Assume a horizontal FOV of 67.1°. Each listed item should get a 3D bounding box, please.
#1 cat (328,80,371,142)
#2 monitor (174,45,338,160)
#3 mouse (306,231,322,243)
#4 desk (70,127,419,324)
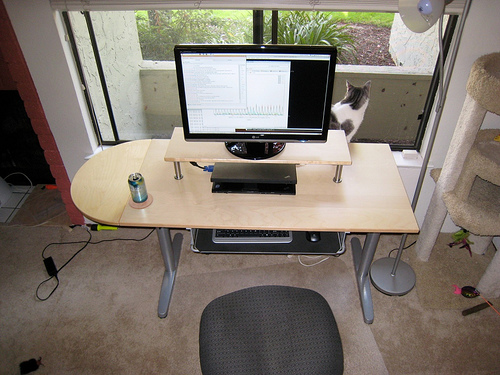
[{"bbox_3d":[0.672,-0.542,2.575,0.127,0.309,0.396,25,89,26],"label":"cat"},{"bbox_3d":[0.032,-0.479,2.085,0.648,0.507,0.255,0,39,1],"label":"monitor"},{"bbox_3d":[0.421,0.316,2.468,0.104,0.060,0.085,-3,38,-2],"label":"mouse"},{"bbox_3d":[0.012,0.221,2.533,2.149,1.237,0.814,0,70,3],"label":"desk"}]
